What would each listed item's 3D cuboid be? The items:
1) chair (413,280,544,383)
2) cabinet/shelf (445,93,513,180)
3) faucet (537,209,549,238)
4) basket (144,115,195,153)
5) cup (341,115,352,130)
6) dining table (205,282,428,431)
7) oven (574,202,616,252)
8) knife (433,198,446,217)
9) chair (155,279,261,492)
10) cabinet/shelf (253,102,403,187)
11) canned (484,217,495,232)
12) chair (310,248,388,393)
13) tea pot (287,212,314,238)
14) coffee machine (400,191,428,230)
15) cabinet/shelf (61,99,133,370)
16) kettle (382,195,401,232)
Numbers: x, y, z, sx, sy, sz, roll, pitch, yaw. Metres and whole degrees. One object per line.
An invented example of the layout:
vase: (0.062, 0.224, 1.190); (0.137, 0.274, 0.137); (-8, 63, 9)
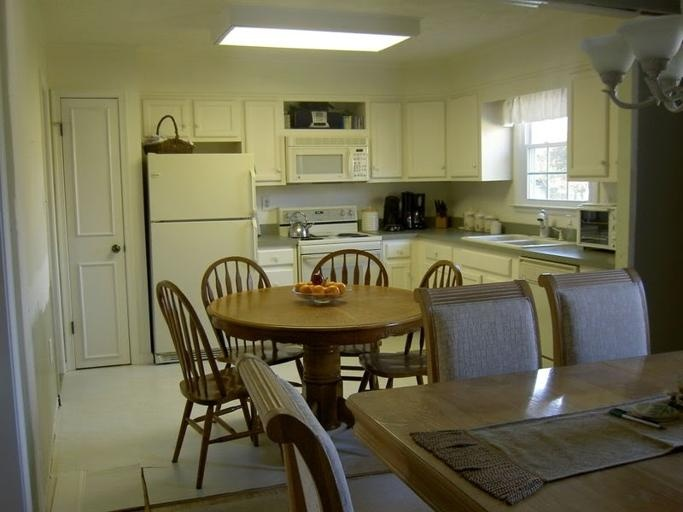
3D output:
chair: (0.550, 0.272, 2.314); (0.392, 0.666, 0.475); (-2, 4, -15)
cabinet/shelf: (1.377, -1.216, 5.385); (0.702, 0.859, 0.390); (3, 12, 24)
faucet: (1.909, -0.318, 4.971); (0.099, 0.245, 0.258); (1, 12, 19)
basket: (-1.631, -1.148, 4.892); (0.393, 0.344, 0.197); (0, 18, -11)
cup: (0.058, -1.434, 5.574); (0.114, 0.124, 0.113); (1, 4, 0)
dining table: (-0.126, 0.663, 3.111); (1.019, 0.622, 1.019); (3, -1, -11)
oven: (1.967, -0.225, 4.223); (0.437, 0.364, 0.336); (0, 0, 3)
knife: (1.148, -0.571, 6.131); (0.128, 0.193, 0.059); (20, 26, 35)
chair: (-0.687, 0.671, 2.952); (0.585, 1.053, 0.513); (-4, 3, -31)
cabinet/shelf: (-0.179, -1.202, 5.608); (1.051, 0.811, 0.544); (0, 22, 4)
canned: (1.556, -0.331, 5.545); (0.063, 0.167, 0.117); (-5, 11, -12)
chair: (0.042, 0.573, 3.915); (0.619, 1.151, 0.511); (5, 30, 9)
tea pot: (-0.474, -0.330, 5.474); (0.311, 0.307, 0.227); (0, 1, -15)
coffee machine: (0.820, -0.533, 6.026); (0.284, 0.405, 0.289); (4, 16, 15)
cabinet/shelf: (-2.203, -0.149, 4.692); (0.184, 2.572, 0.575); (14, 17, 31)
kettle: (0.539, -0.490, 5.970); (0.213, 0.407, 0.211); (2, 3, 24)
